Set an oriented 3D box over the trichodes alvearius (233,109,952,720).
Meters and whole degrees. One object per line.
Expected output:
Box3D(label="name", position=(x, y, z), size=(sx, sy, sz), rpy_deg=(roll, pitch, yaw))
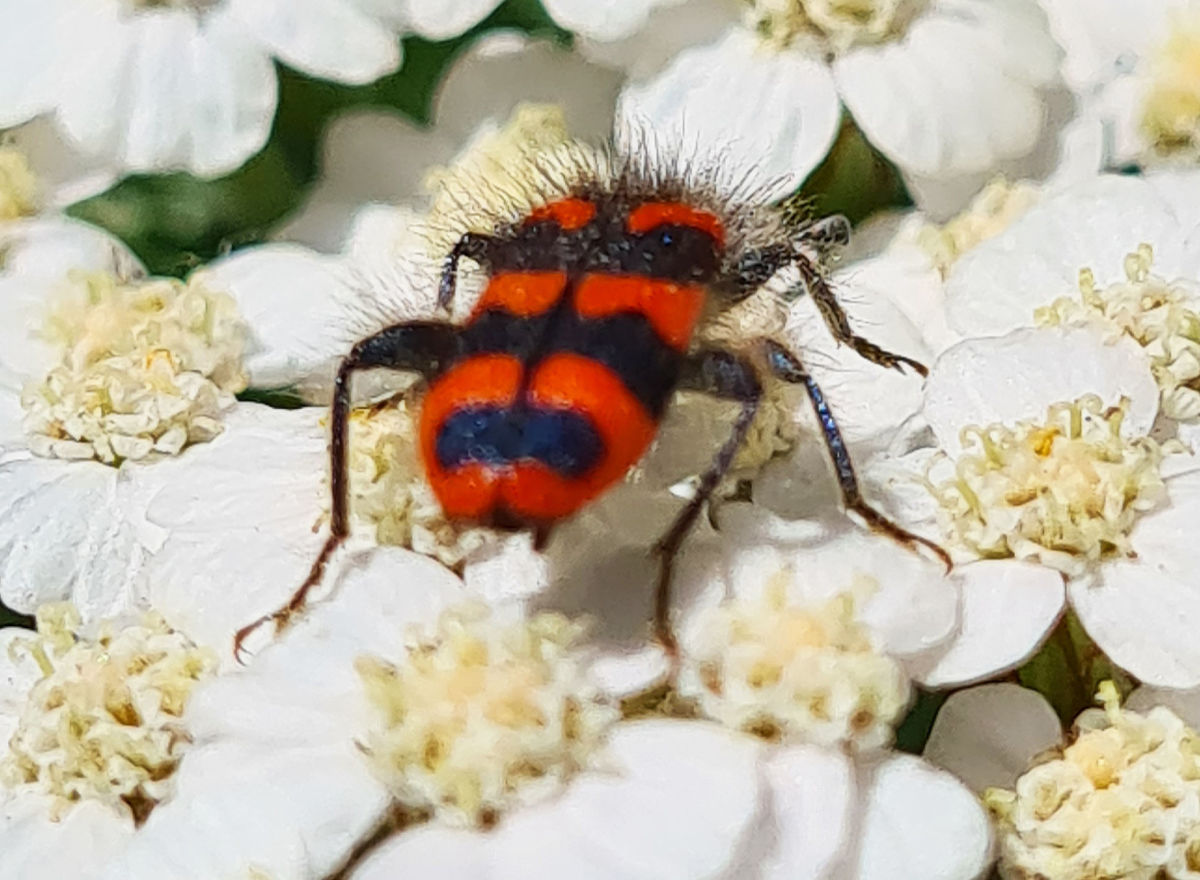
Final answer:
Box3D(label="trichodes alvearius", position=(-0.004, -0.126, 2.078), size=(0.588, 0.196, 0.642), rpy_deg=(8, 50, 13))
